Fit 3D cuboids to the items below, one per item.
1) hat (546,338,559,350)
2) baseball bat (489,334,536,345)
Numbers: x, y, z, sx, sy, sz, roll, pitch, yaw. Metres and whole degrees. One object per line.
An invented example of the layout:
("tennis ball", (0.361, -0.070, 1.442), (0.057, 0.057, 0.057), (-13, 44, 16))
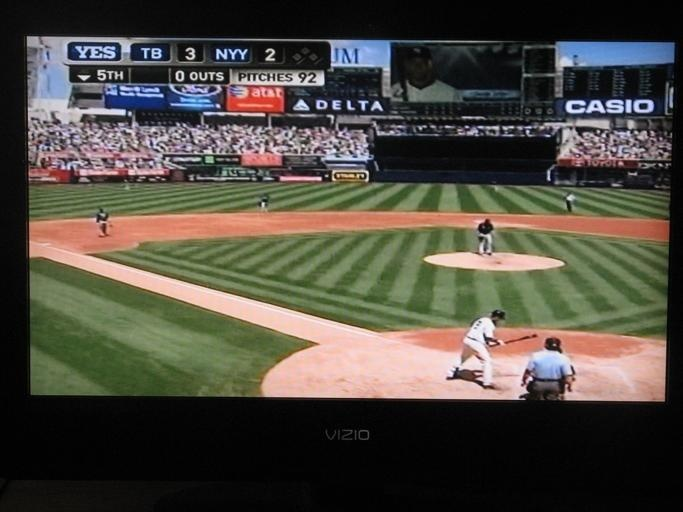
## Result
("hat", (1.274, 0.532, 3.898), (0.093, 0.066, 0.061), (2, -3, -3))
("baseball bat", (1.034, 0.511, 3.930), (0.310, 0.035, 0.027), (-6, 53, -8))
